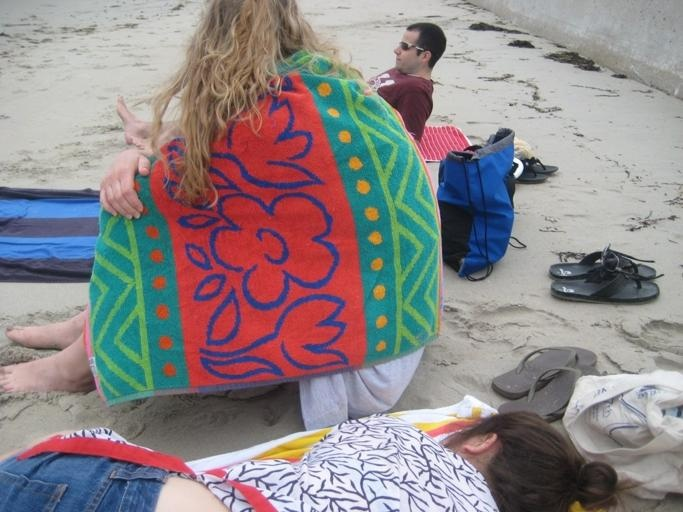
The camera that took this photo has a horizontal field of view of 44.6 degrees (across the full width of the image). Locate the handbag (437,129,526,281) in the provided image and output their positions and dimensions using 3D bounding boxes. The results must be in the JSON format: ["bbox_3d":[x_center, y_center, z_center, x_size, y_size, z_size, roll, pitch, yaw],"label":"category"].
[{"bbox_3d":[0.922,-0.334,5.719,0.716,0.917,0.752,14,31,17],"label":"handbag"}]

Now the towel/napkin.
[{"bbox_3d":[-0.404,-0.194,4.710,1.758,1.795,1.595,3,26,-8],"label":"towel/napkin"}]
